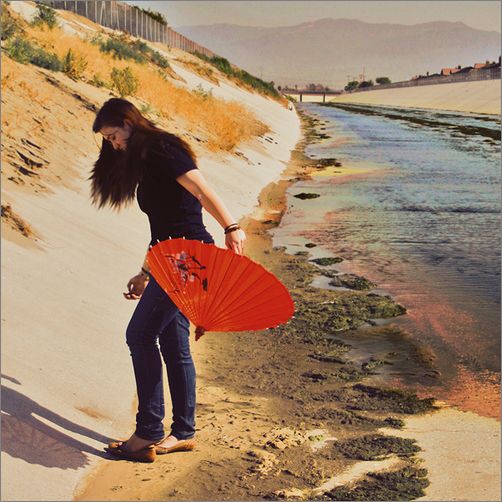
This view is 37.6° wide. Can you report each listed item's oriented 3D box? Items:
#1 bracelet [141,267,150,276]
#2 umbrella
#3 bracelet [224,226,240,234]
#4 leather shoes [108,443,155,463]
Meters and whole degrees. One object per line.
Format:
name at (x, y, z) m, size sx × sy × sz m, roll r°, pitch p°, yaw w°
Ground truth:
bracelet at (-0.721, 0.134, 5.031) m, size 0.059 × 0.014 × 0.057 m, roll 30°, pitch -1°, yaw -24°
umbrella at (-0.192, 0.228, 4.669) m, size 0.884 × 0.608 × 0.339 m, roll 8°, pitch 8°, yaw 29°
bracelet at (-0.120, -0.140, 4.582) m, size 0.084 × 0.063 × 0.045 m, roll 3°, pitch 8°, yaw -10°
leather shoes at (-0.810, 1.369, 5.066) m, size 0.388 × 0.096 × 0.115 m, roll 11°, pitch -6°, yaw 12°
